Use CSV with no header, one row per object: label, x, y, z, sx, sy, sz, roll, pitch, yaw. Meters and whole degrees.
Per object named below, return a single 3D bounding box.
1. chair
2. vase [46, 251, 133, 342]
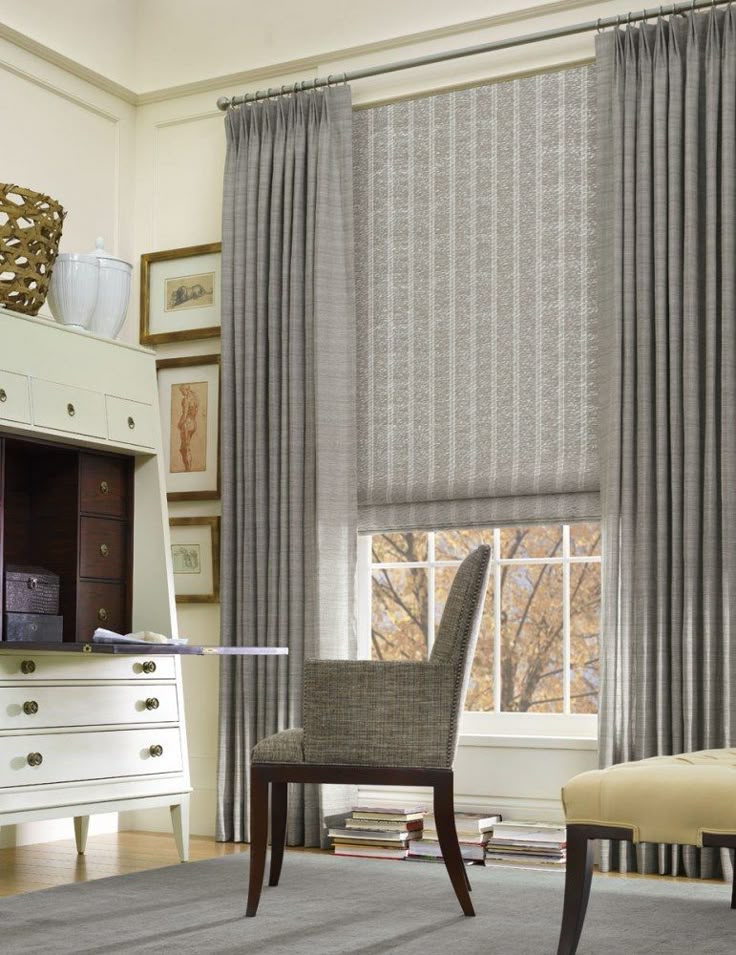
chair,0.069,0.776,3.220,0.832,1.201,0.675,1,-11,4
vase,-0.912,-0.600,3.799,0.284,0.379,0.320,1,2,17
